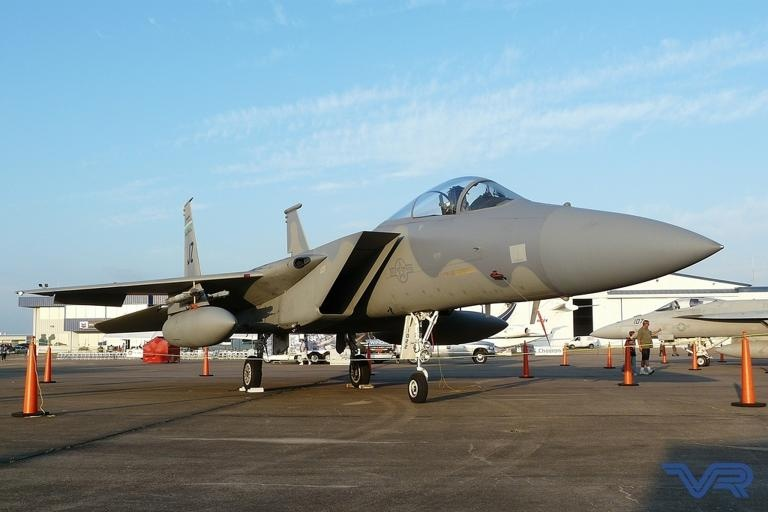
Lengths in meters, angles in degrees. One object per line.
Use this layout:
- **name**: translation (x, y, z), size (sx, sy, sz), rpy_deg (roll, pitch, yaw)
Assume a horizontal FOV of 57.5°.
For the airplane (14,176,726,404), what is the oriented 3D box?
- **airplane**: translation (0.401, 0.367, 13.352), size (8.976, 2.593, 6.710), rpy_deg (-3, -2, 41)
